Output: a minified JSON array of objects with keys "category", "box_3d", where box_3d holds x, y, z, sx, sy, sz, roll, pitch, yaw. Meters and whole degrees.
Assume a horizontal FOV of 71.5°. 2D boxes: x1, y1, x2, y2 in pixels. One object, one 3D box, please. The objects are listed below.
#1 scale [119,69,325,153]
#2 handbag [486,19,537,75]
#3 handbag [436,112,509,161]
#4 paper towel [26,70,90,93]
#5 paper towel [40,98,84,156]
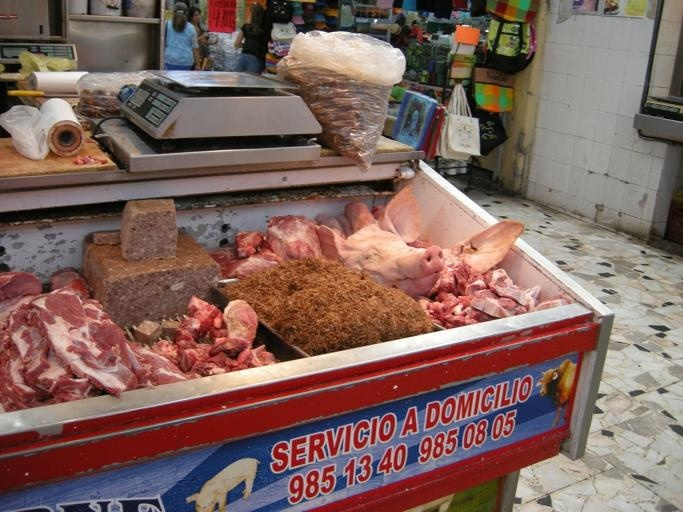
[{"category":"scale","box_3d":[-0.557,-0.701,2.149,0.705,0.196,0.606,-13,33,-29]},{"category":"handbag","box_3d":[2.352,-2.954,6.629,0.635,0.652,0.220,11,27,12]},{"category":"handbag","box_3d":[1.875,-1.821,7.065,0.741,0.576,0.910,-15,26,-34]},{"category":"paper towel","box_3d":[-1.937,-1.179,3.208,0.300,0.141,0.359,-8,25,-27]},{"category":"paper towel","box_3d":[-1.162,-0.536,1.972,0.137,0.188,0.339,-9,27,-29]}]
